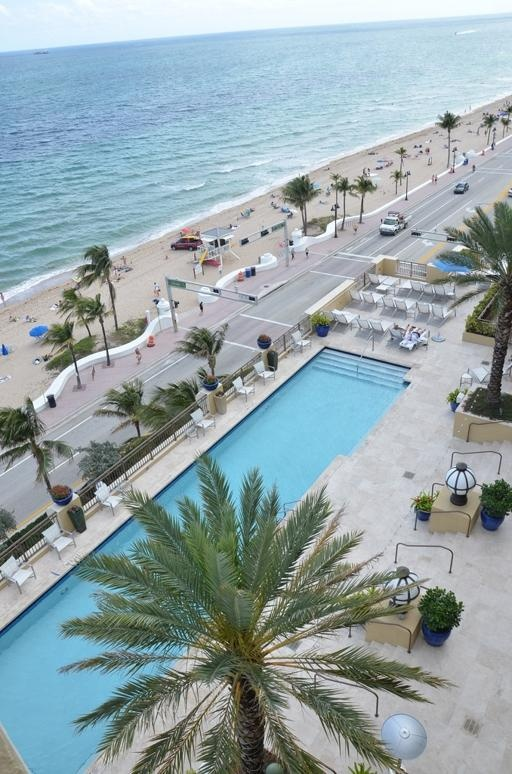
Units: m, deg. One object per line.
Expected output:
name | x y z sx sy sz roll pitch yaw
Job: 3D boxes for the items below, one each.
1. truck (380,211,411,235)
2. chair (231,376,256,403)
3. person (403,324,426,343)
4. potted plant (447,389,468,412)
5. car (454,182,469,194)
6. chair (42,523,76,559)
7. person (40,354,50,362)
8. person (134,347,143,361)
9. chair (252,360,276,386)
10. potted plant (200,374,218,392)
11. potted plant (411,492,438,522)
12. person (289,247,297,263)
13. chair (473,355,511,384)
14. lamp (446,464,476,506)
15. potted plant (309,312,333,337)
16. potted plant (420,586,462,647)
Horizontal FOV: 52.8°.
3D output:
truck | 11.144 -13.527 42.095 1.216 1.606 3.332 17 49 28
chair | -0.494 0.096 20.162 0.791 1.102 0.826 27 54 25
person | 6.869 -2.262 22.167 0.887 0.616 1.272 4 27 24
potted plant | 6.750 0.311 17.441 0.587 0.777 0.839 5 59 24
car | 20.237 -19.574 51.011 0.978 0.873 1.766 19 53 31
chair | -5.366 4.139 14.186 0.671 0.810 0.637 12 31 37
person | -15.719 -2.228 39.122 0.670 0.303 0.968 -18 27 -20
person | -7.350 -2.032 32.536 0.396 1.331 0.526 -3 -6 12
chair | 0.388 -0.612 21.036 0.724 0.744 0.696 -22 28 -28
potted plant | -1.753 -0.088 19.678 0.615 0.433 0.651 -5 64 -2
potted plant | 4.394 3.118 13.418 0.642 0.681 0.613 -27 34 -24
person | 3.065 -11.020 42.536 0.468 0.813 1.518 -6 25 6
chair | 8.590 -0.585 18.698 1.234 0.626 2.367 7 29 30
lamp | 4.862 2.346 12.406 0.601 1.230 0.597 -6 24 5
potted plant | 3.019 -2.992 23.836 0.969 1.043 1.026 4 42 11
potted plant | 3.375 4.407 9.807 0.860 1.060 0.748 5 -2 14
